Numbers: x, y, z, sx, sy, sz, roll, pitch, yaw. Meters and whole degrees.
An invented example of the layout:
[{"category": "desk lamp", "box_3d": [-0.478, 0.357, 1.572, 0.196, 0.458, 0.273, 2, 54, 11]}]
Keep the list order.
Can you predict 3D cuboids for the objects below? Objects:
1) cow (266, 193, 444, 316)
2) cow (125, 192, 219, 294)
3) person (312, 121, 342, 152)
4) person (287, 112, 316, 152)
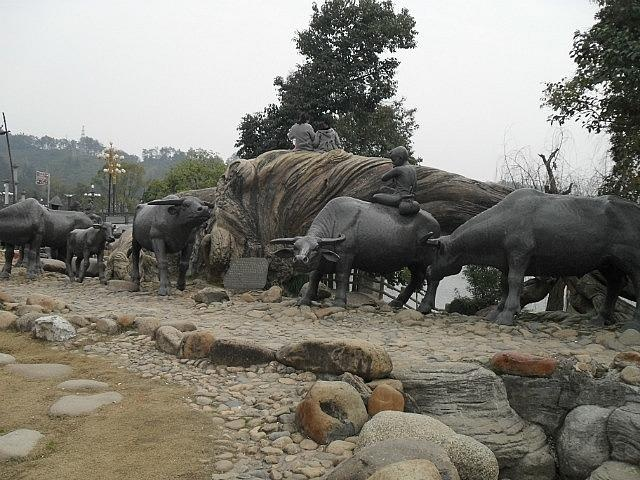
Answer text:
[{"category": "cow", "box_3d": [0.674, 0.291, 7.882, 2.523, 1.936, 0.920, -3, 9, -22]}, {"category": "cow", "box_3d": [-2.909, 0.072, 9.142, 1.873, 1.819, 1.072, 8, 11, 43]}, {"category": "person", "box_3d": [0.161, -2.443, 11.330, 0.683, 0.980, 0.703, 0, 14, 1]}, {"category": "person", "box_3d": [-0.409, -2.576, 11.632, 0.674, 0.932, 0.605, 0, 6, -17]}]
